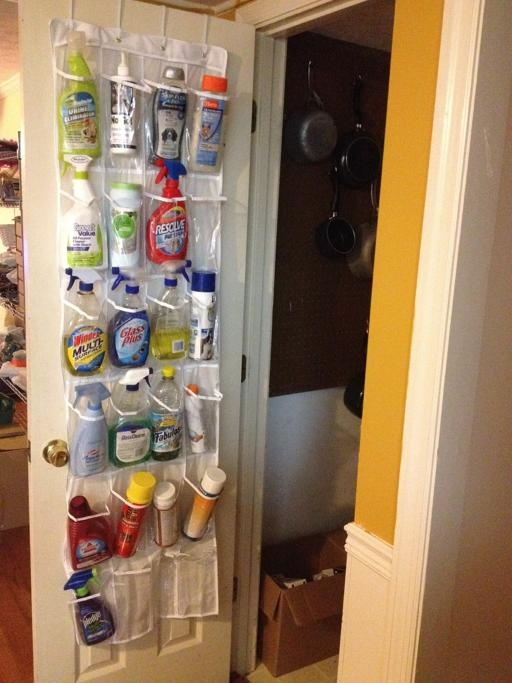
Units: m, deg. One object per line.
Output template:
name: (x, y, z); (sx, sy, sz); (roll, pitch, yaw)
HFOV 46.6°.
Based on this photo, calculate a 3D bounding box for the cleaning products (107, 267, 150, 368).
cleaning products: (-0.288, -0.054, 1.363); (0.096, 0.255, 0.061); (-12, 36, -28)

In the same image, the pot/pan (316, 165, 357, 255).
pot/pan: (0.272, -0.418, 2.017); (0.102, 0.330, 0.089); (-5, 4, -27)

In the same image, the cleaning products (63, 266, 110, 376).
cleaning products: (-0.385, -0.048, 1.337); (0.098, 0.285, 0.068); (-16, 39, -34)

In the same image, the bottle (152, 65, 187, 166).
bottle: (-0.192, -0.497, 1.320); (0.076, 0.206, 0.052); (-3, 13, -18)

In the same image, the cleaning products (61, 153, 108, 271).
cleaning products: (-0.373, -0.275, 1.280); (0.086, 0.239, 0.065); (-3, 13, -17)

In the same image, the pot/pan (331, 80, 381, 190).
pot/pan: (0.353, -0.707, 2.008); (0.103, 0.368, 0.195); (12, 17, 41)

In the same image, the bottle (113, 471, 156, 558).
bottle: (-0.296, 0.435, 1.434); (0.098, 0.233, 0.068); (-2, 13, -12)

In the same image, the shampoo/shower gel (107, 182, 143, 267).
shampoo/shower gel: (-0.291, -0.252, 1.313); (0.071, 0.187, 0.051); (-2, 13, -11)

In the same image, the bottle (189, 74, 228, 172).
bottle: (-0.113, -0.502, 1.387); (0.085, 0.209, 0.087); (1, 13, 0)

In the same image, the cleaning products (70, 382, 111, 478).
cleaning products: (-0.385, 0.203, 1.379); (0.090, 0.248, 0.070); (-11, 35, -35)

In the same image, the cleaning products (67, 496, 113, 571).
cleaning products: (-0.402, 0.448, 1.424); (0.114, 0.176, 0.099); (-26, 48, -35)

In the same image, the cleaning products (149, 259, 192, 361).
cleaning products: (-0.210, -0.079, 1.461); (0.096, 0.261, 0.095); (-14, 33, -32)

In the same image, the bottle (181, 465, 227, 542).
bottle: (-0.135, 0.435, 1.562); (0.093, 0.212, 0.124); (-9, 16, -37)

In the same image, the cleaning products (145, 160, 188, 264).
cleaning products: (-0.199, -0.297, 1.381); (0.122, 0.240, 0.085); (-6, 14, -29)

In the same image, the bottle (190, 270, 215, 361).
bottle: (-0.135, -0.059, 1.495); (0.065, 0.233, 0.078); (-1, 13, -6)

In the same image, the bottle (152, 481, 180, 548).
bottle: (-0.228, 0.450, 1.495); (0.060, 0.187, 0.070); (-3, 13, -15)

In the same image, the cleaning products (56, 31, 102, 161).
cleaning products: (-0.372, -0.499, 1.238); (0.090, 0.254, 0.063); (-4, 13, -22)

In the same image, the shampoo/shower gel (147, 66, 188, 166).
shampoo/shower gel: (-0.194, -0.502, 1.324); (0.076, 0.214, 0.044); (-4, 44, -21)

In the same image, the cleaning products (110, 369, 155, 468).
cleaning products: (-0.303, 0.178, 1.438); (0.106, 0.293, 0.071); (-10, 37, -25)

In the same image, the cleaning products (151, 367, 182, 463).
cleaning products: (-0.223, 0.197, 1.479); (0.082, 0.223, 0.053); (-6, 14, -26)

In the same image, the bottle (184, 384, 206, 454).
bottle: (-0.157, 0.205, 1.531); (0.051, 0.193, 0.042); (-1, 12, -7)

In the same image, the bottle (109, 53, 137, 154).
bottle: (-0.286, -0.507, 1.271); (0.058, 0.202, 0.043); (-2, 13, -11)

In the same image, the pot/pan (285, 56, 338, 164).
pot/pan: (0.166, -0.703, 1.858); (0.162, 0.323, 0.098); (-16, 21, -40)

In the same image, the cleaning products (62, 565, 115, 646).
cleaning products: (-0.416, 0.656, 1.473); (0.084, 0.232, 0.055); (-13, 27, -11)
